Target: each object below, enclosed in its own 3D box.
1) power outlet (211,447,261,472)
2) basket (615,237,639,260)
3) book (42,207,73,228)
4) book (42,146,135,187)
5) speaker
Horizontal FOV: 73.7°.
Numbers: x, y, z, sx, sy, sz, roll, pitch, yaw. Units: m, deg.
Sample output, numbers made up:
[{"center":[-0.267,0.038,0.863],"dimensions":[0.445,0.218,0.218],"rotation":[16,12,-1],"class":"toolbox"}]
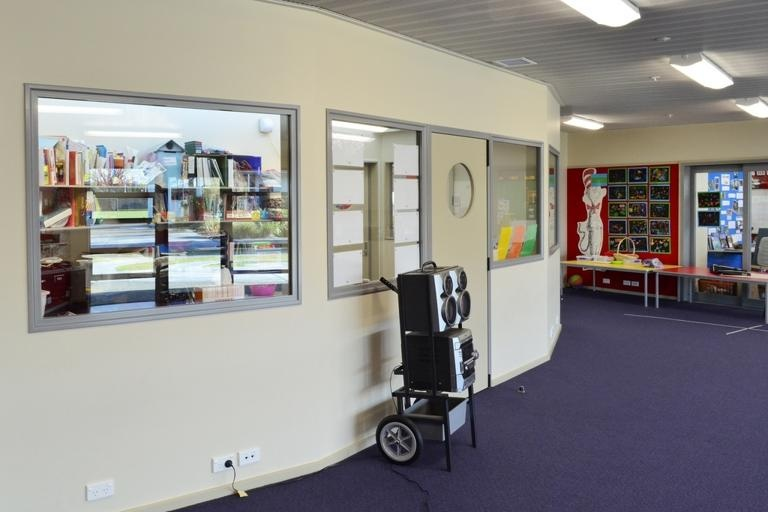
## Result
[{"center":[-1.179,1.598,4.025],"dimensions":[0.259,0.091,0.152],"rotation":[-5,6,-35],"class":"power outlet"},{"center":[5.064,-0.147,10.810],"dimensions":[0.388,0.549,0.562],"rotation":[5,11,29],"class":"basket"},{"center":[-2.288,-0.265,3.542],"dimensions":[0.010,0.138,0.180],"rotation":[6,10,44],"class":"book"},{"center":[-2.112,-0.648,3.605],"dimensions":[0.558,0.298,0.050],"rotation":[-5,8,-26],"class":"book"},{"center":[0.462,0.632,4.403],"dimensions":[0.702,1.026,0.327],"rotation":[-1,7,-6],"class":"speaker"}]
